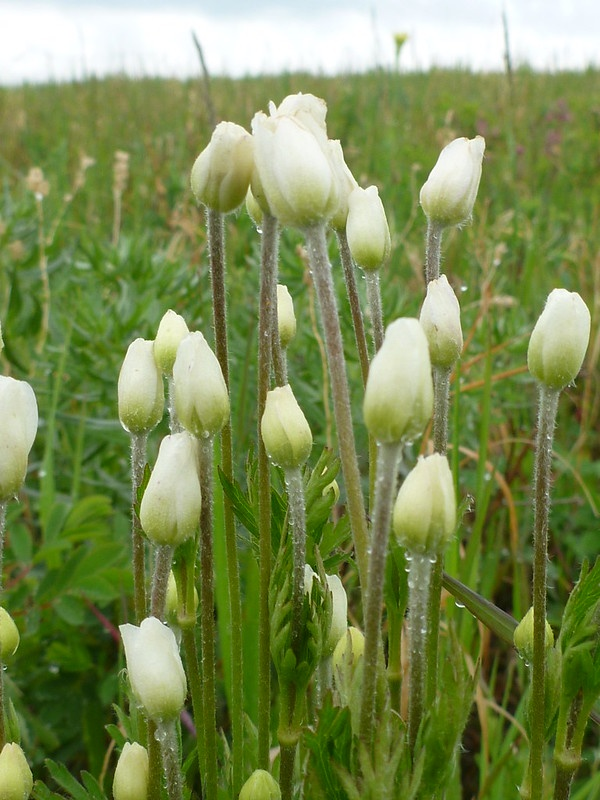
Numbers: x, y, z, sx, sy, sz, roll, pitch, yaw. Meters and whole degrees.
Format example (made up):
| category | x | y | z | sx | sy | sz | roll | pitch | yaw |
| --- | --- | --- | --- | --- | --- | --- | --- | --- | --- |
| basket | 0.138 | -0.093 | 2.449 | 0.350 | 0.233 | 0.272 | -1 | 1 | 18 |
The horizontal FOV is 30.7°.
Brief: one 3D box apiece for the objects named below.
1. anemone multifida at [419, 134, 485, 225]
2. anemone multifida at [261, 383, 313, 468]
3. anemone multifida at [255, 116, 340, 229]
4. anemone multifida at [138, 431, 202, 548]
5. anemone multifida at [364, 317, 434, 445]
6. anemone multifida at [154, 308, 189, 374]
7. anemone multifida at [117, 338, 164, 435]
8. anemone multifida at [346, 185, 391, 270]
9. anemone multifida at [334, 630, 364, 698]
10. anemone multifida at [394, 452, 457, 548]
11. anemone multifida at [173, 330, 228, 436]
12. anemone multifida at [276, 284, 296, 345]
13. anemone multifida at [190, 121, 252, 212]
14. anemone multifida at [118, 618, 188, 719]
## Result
| category | x | y | z | sx | sy | sz | roll | pitch | yaw |
| --- | --- | --- | --- | --- | --- | --- | --- | --- | --- |
| anemone multifida | 0.145 | -0.196 | 1.052 | 0.049 | 0.096 | 0.039 | 10 | -2 | -17 |
| anemone multifida | -0.015 | 0.025 | 0.943 | 0.036 | 0.080 | 0.043 | 6 | -32 | -35 |
| anemone multifida | -0.013 | -0.181 | 0.904 | 0.045 | 0.051 | 0.081 | 4 | 7 | 41 |
| anemone multifida | -0.112 | 0.088 | 0.953 | 0.048 | 0.064 | 0.114 | 3 | 25 | -5 |
| anemone multifida | 0.079 | -0.009 | 0.844 | 0.046 | 0.114 | 0.047 | 13 | -19 | -19 |
| anemone multifida | -0.125 | -0.057 | 1.050 | 0.031 | 0.066 | 0.026 | 8 | -5 | -36 |
| anemone multifida | -0.154 | -0.015 | 1.061 | 0.042 | 0.091 | 0.079 | 1 | 13 | -10 |
| anemone multifida | 0.064 | -0.163 | 1.037 | 0.034 | 0.085 | 0.037 | 0 | 12 | 24 |
| anemone multifida | 0.044 | 0.240 | 0.983 | 0.017 | 0.031 | 0.077 | -3 | 38 | 8 |
| anemone multifida | 0.098 | 0.086 | 0.866 | 0.051 | 0.079 | 0.042 | 0 | 13 | -19 |
| anemone multifida | -0.082 | -0.011 | 0.928 | 0.037 | 0.097 | 0.040 | -5 | 5 | 4 |
| anemone multifida | -0.017 | -0.089 | 1.137 | 0.013 | 0.052 | 0.024 | 9 | 15 | 28 |
| anemone multifida | -0.068 | -0.208 | 0.977 | 0.056 | 0.080 | 0.034 | 5 | 12 | 3 |
| anemone multifida | -0.124 | 0.227 | 0.928 | 0.055 | 0.093 | 0.060 | 2 | 13 | -10 |
